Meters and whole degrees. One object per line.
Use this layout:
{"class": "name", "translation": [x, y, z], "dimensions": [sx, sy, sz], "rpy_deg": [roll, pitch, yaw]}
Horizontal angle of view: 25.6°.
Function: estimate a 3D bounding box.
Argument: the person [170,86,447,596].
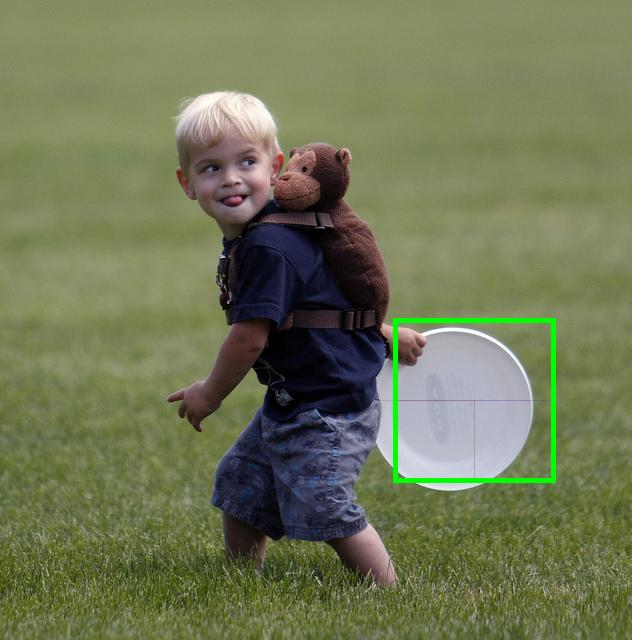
{"class": "person", "translation": [-0.119, 0.132, 7.045], "dimensions": [1.192, 2.422, 0.944], "rpy_deg": [0, 18, 3]}
